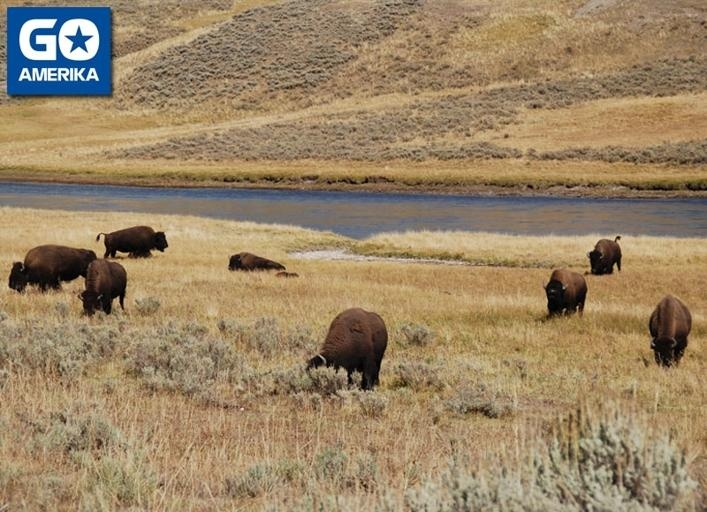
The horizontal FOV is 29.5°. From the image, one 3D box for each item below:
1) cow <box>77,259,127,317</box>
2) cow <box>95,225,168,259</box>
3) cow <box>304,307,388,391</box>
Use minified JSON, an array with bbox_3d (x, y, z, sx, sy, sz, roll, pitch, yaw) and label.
[{"bbox_3d":[-27.228,3.365,146.846,4.590,6.004,1.698,-3,8,-29],"label":"cow"},{"bbox_3d":[-25.770,-1.711,158.562,7.096,3.604,1.830,-2,8,-19],"label":"cow"},{"bbox_3d":[-0.661,9.503,143.755,4.726,7.880,11.462,-2,5,32],"label":"cow"}]
